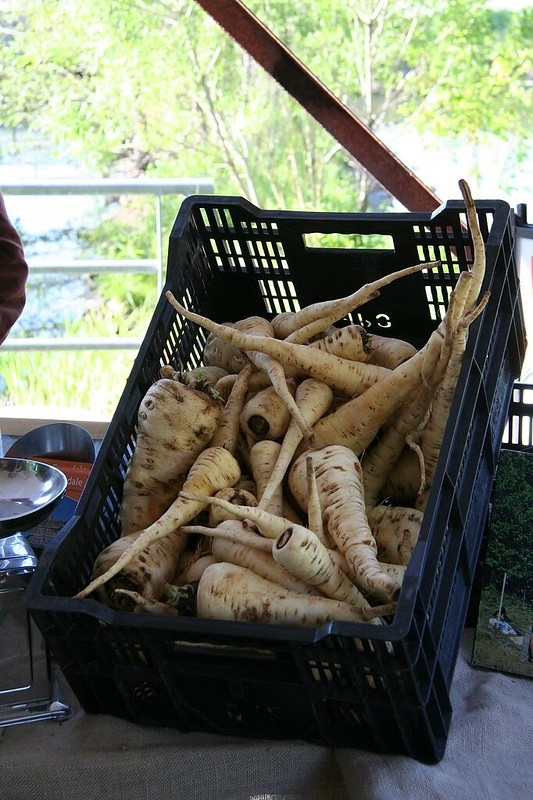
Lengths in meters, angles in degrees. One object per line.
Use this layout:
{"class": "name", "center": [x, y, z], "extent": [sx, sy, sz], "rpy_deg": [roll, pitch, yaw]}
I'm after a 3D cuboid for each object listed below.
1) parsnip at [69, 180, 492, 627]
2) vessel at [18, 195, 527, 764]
{"class": "parsnip", "center": [0.043, 0.017, 0.821], "extent": [0.351, 0.179, 0.553], "rpy_deg": [-2, 42, 25]}
{"class": "vessel", "center": [0.099, 0.083, 0.847], "extent": [0.525, 0.264, 0.711], "rpy_deg": [-2, 47, 22]}
